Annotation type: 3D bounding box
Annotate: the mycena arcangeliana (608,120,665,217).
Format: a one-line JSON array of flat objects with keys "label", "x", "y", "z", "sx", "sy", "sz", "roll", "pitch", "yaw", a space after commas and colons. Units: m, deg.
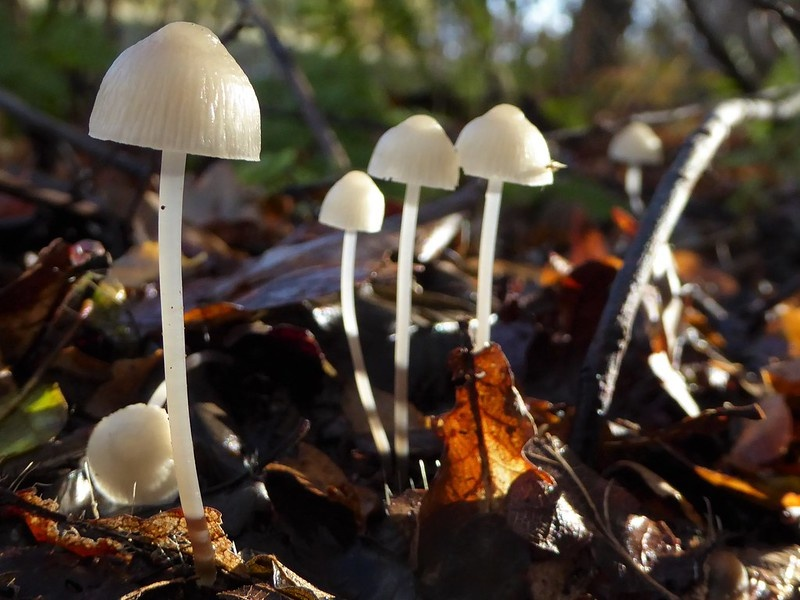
[{"label": "mycena arcangeliana", "x": 0.921, "y": -0.524, "z": 3.373, "sx": 0.206, "sy": 0.347, "sz": 0.433, "roll": 13, "pitch": 17, "yaw": 15}]
